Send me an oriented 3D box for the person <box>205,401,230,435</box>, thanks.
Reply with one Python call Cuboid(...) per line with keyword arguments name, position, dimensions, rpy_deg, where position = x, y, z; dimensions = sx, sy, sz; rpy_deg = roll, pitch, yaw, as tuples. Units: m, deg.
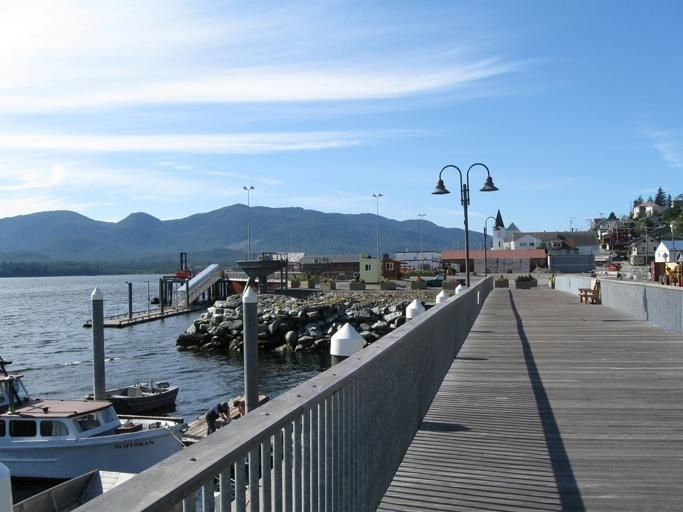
Cuboid(name="person", position=(-3.312, 4.350, 18.883), dimensions=(0.647, 0.791, 1.212), rpy_deg=(-9, -2, -13))
